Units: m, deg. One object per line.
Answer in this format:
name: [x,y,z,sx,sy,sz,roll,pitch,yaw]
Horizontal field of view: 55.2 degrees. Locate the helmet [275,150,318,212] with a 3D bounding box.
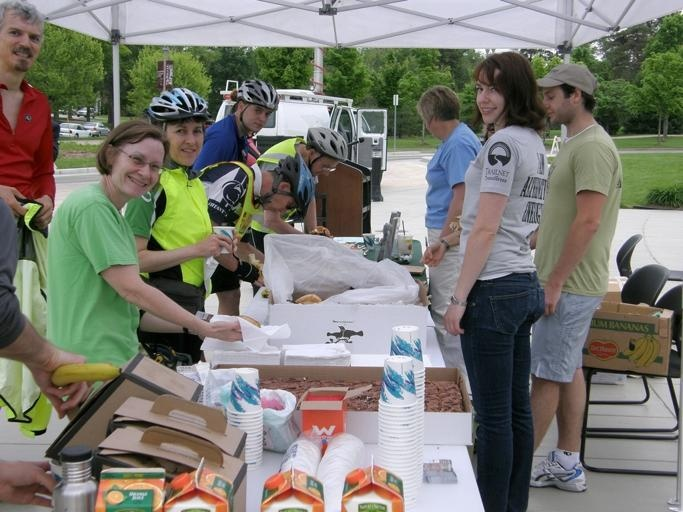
helmet: [-0.251,-0.473,4.055,0.203,0.343,0.251,-8,-5,20]

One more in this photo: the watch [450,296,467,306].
watch: [0.576,0.223,3.204,0.059,0.027,0.045,21,-9,-19]

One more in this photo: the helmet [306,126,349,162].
helmet: [-0.117,-0.836,4.722,0.286,0.122,0.214,30,26,25]

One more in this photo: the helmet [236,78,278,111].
helmet: [-0.637,-1.232,4.903,0.292,0.149,0.214,22,16,41]

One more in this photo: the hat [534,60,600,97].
hat: [1.341,-1.052,3.844,0.408,0.214,0.265,6,16,7]

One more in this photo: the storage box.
storage box: [1.863,0.562,4.244,0.680,0.449,0.400,3,9,26]

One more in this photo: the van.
van: [-0.129,-3.010,14.530,3.887,2.149,3.241,-13,23,-40]

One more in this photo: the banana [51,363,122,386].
banana: [-0.968,0.444,2.471,0.308,0.086,0.072,-3,25,17]

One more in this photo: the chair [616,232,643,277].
chair: [3.167,-0.010,7.195,0.314,0.624,0.393,3,30,24]
